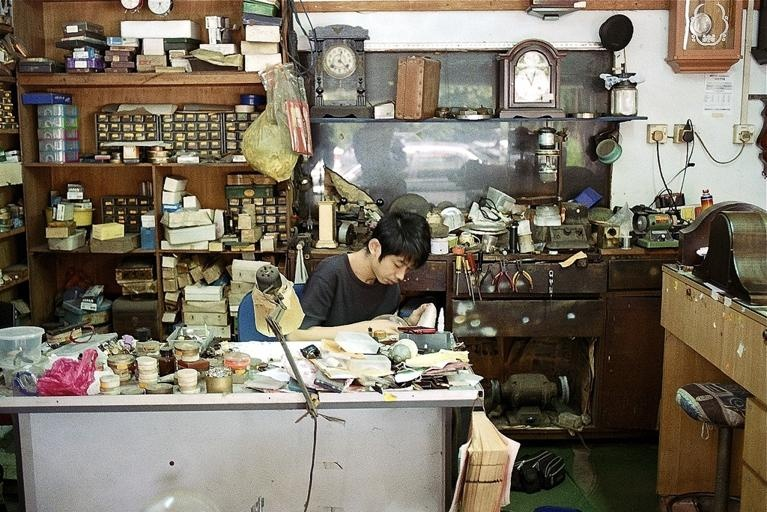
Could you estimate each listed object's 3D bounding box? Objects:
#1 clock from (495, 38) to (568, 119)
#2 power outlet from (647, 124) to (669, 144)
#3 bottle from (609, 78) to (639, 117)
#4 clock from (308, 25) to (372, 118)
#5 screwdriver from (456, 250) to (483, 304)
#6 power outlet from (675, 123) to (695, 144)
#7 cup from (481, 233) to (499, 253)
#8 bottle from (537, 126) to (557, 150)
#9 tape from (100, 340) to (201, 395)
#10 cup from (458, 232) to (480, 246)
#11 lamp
[{"bbox_3d":[1.154,-1.357,5.053,0.516,0.621,0.219,0,0,6],"label":"clock"},{"bbox_3d":[2.246,-0.996,5.297,0.170,0.160,0.052,-4,9,-9],"label":"power outlet"},{"bbox_3d":[1.901,-1.239,5.113,0.202,0.291,0.147,0,9,14],"label":"bottle"},{"bbox_3d":[-0.341,-1.423,5.070,0.482,0.699,0.297,-2,9,4],"label":"clock"},{"bbox_3d":[0.633,0.136,4.798,0.185,0.385,0.073,-5,9,-18],"label":"screwdriver"},{"bbox_3d":[2.451,-1.002,5.282,0.161,0.148,0.089,0,2,1],"label":"power outlet"},{"bbox_3d":[0.821,-0.103,4.936,0.192,0.134,0.085,-9,11,-38],"label":"cup"},{"bbox_3d":[1.266,-0.910,5.027,0.164,0.174,0.164,0,8,5],"label":"bottle"},{"bbox_3d":[-1.155,0.523,3.190,0.353,0.171,0.343,1,13,-6],"label":"tape"},{"bbox_3d":[0.656,-0.133,4.970,0.114,0.104,0.112,-1,2,0],"label":"cup"},{"bbox_3d":[-0.419,0.362,3.018,0.288,0.692,0.305,6,13,1],"label":"lamp"}]
